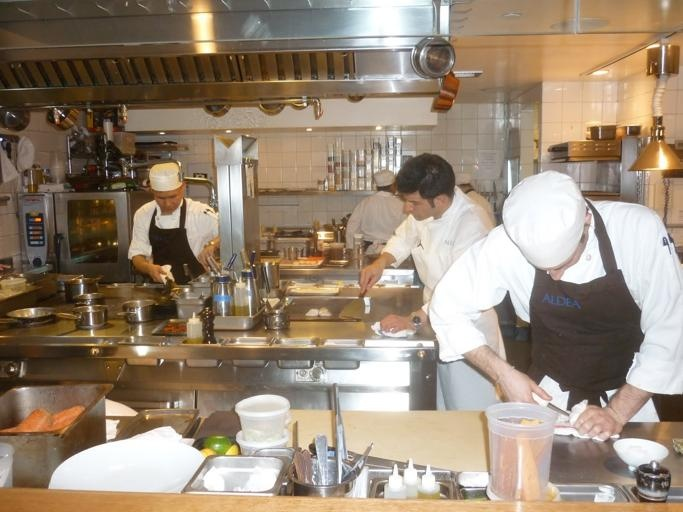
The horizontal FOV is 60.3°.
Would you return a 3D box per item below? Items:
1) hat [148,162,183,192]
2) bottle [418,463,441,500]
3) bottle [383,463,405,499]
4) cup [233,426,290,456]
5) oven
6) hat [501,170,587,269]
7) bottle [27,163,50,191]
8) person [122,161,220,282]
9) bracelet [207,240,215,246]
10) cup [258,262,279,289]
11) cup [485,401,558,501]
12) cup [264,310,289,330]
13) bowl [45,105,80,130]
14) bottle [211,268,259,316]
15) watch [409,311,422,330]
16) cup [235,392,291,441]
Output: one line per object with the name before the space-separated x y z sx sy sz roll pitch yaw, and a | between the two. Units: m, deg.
hat | -1.231 -0.549 4.117 0.226 0.130 0.224 -2 13 -14
bottle | 0.240 0.650 1.706 0.054 0.092 0.077 -6 6 -35
bottle | 0.151 0.651 1.695 0.060 0.077 0.083 -2 5 4
cup | -0.244 0.585 1.851 0.102 0.068 0.098 -1 12 0
oven | -2.396 -0.228 5.903 1.221 0.855 0.906 0 6 4
hat | 0.701 -0.113 2.040 0.270 0.339 0.188 -9 -29 34
bottle | -2.953 -0.754 5.714 0.187 0.281 0.539 -5 5 -25
person | -1.285 -0.238 4.395 0.678 0.877 0.547 -3 5 -9
bracelet | -0.898 -0.088 4.034 0.041 0.019 0.054 1 10 -6
cup | -0.455 0.123 3.709 0.136 0.162 0.169 -4 3 -3
cup | 0.500 0.560 1.785 0.261 0.236 0.231 2 8 14
cup | -0.350 0.341 3.168 0.112 0.070 0.106 2 9 0
bowl | -1.513 -0.750 3.186 0.164 0.115 0.304 -4 5 -23
bottle | -0.580 0.217 3.186 0.335 0.296 0.168 0 2 -4
watch | 0.390 0.338 3.100 0.050 0.063 0.119 -1 4 11
cup | -0.251 0.492 1.868 0.146 0.077 0.142 -2 1 0
